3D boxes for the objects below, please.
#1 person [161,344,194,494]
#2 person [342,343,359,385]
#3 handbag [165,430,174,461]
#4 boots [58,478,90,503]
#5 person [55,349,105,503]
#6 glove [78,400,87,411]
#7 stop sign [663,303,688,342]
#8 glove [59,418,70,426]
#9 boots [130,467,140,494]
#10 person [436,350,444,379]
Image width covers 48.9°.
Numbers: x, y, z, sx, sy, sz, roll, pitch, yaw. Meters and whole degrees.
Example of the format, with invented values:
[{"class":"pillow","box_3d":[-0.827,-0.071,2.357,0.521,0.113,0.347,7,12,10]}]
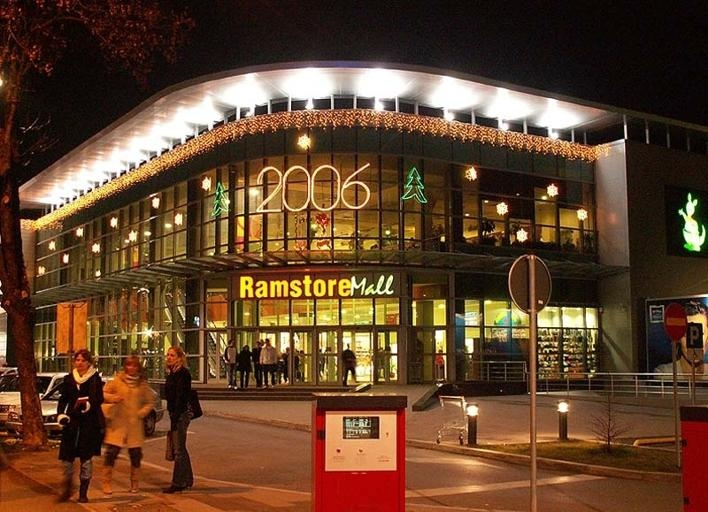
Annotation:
[{"class":"person","box_3d":[-3.445,3.196,15.243,0.577,2.818,0.669,2,-10,-13]},{"class":"person","box_3d":[-0.220,4.826,34.970,0.658,1.769,0.276,0,-10,-2]},{"class":"handbag","box_3d":[-3.560,3.646,14.985,0.115,0.561,0.346,5,-11,-29]},{"class":"boots","box_3d":[-5.302,4.504,14.733,0.510,0.494,0.437,4,-26,-11]},{"class":"person","box_3d":[-5.297,3.237,14.993,0.859,2.865,0.630,2,-10,-12]},{"class":"glove","box_3d":[-5.208,2.870,14.891,0.181,0.197,0.080,-2,-10,10]},{"class":"stop sign","box_3d":[7.629,1.556,18.421,0.485,0.994,1.147,-4,-10,21]},{"class":"glove","box_3d":[-5.523,3.154,14.790,0.147,0.107,0.148,0,-8,15]},{"class":"boots","box_3d":[-4.293,4.357,15.104,0.177,0.494,0.126,-2,-10,8]},{"class":"person","box_3d":[3.904,4.933,35.269,0.448,1.350,0.196,1,-10,-9]}]
